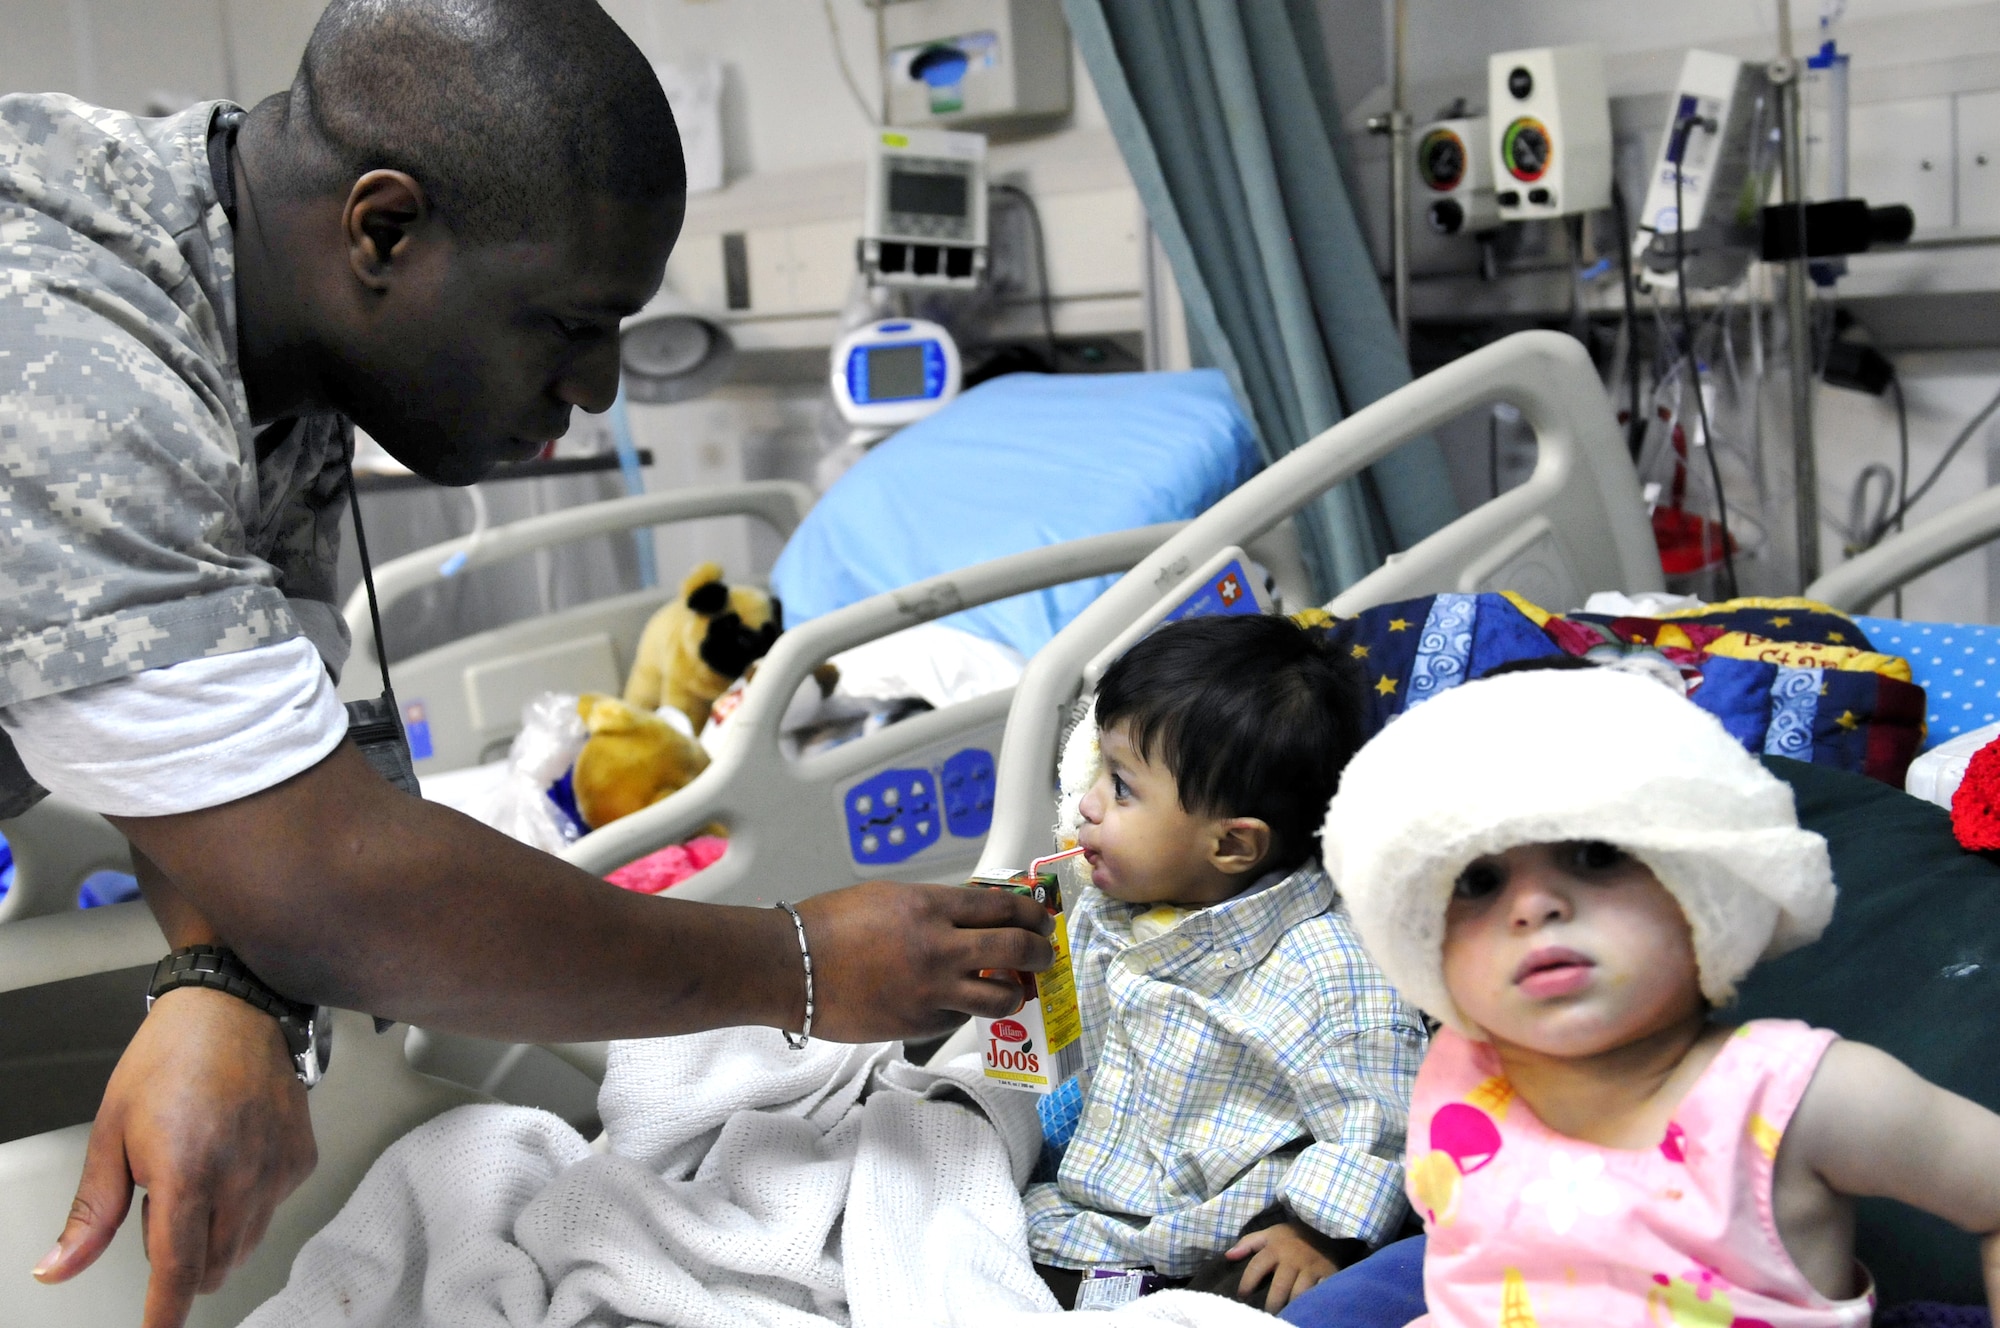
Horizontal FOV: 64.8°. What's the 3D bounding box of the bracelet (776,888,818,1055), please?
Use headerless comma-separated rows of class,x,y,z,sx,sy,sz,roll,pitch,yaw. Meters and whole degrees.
bracelet,-0.179,0.304,1.475,0.027,0.106,0.083,-6,3,-6

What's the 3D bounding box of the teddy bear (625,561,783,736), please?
teddy bear,-0.594,-0.025,3.243,0.406,0.329,0.300,5,6,39

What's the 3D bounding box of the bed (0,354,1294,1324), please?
bed,-0.307,-0.057,2.644,1.903,1.219,1.020,-16,25,-29
